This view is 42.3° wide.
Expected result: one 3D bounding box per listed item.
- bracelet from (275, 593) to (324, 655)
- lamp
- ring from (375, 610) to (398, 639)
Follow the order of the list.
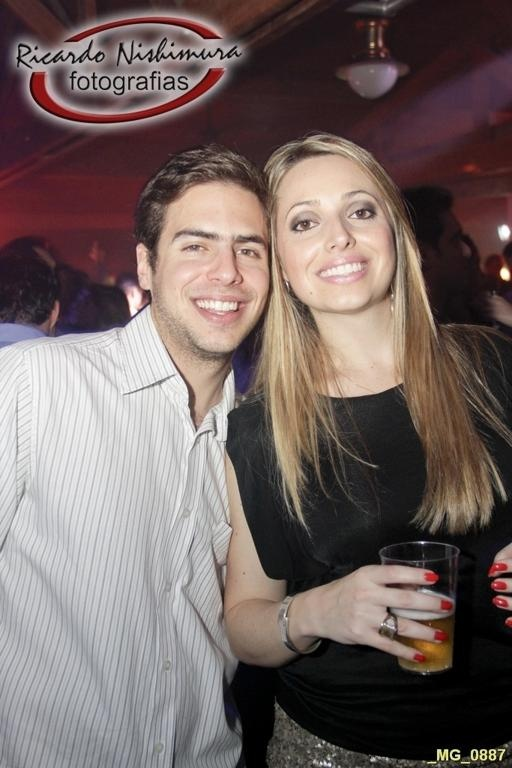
[{"bbox_3d":[0.095,0.563,1.539,0.111,0.127,0.048,23,-41,-34],"label":"bracelet"},{"bbox_3d":[0.716,-2.070,4.173,0.442,0.416,0.422,-2,26,-7],"label":"lamp"},{"bbox_3d":[0.264,0.480,1.310,0.039,0.048,0.056,6,32,19],"label":"ring"}]
